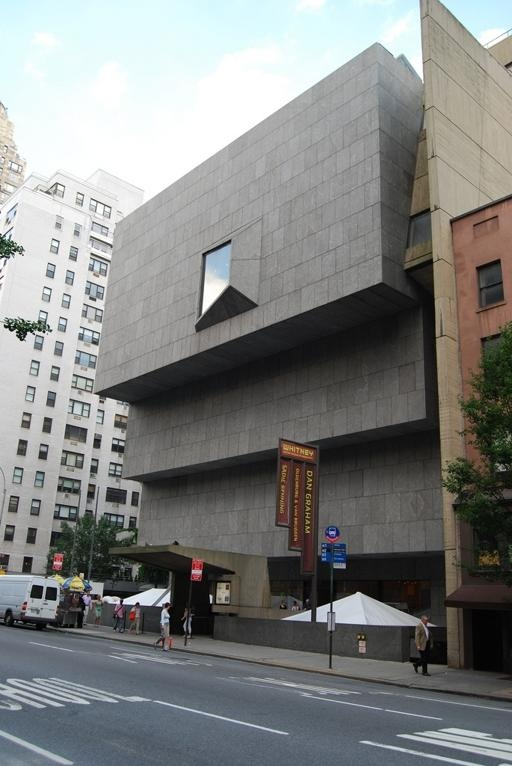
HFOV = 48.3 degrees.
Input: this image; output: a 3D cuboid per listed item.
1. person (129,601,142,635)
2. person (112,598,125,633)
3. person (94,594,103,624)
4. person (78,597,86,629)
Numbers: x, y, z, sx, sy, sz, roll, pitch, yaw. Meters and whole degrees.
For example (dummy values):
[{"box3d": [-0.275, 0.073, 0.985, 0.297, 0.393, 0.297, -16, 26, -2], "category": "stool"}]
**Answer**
[{"box3d": [-7.372, 14.220, 34.897, 0.685, 1.624, 2.863, 4, -17, -10], "category": "person"}, {"box3d": [-8.357, 14.165, 34.850, 0.622, 1.605, 2.054, 5, -17, -12], "category": "person"}, {"box3d": [-10.471, 15.047, 37.714, 0.347, 1.556, 0.929, 7, -17, -20], "category": "person"}, {"box3d": [-11.391, 14.909, 37.159, 0.446, 1.580, 1.830, 6, -17, -15], "category": "person"}]
